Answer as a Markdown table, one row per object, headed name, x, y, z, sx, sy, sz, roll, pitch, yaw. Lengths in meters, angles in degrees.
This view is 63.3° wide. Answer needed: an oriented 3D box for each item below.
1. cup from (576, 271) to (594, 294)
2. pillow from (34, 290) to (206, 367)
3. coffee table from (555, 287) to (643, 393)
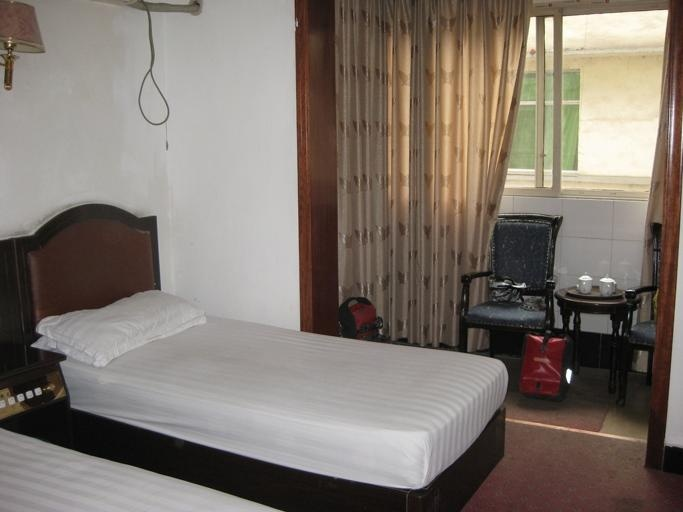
| name | x | y | z | sx | sy | sz | roll | pitch | yaw |
| --- | --- | --- | --- | --- | --- | --- | --- | --- | --- |
| cup | 2.149 | 0.252 | 4.891 | 0.126 | 0.177 | 0.169 | 0 | 0 | -21 |
| pillow | -1.430 | 0.461 | 3.810 | 0.448 | 0.188 | 0.714 | 15 | 18 | 28 |
| coffee table | 2.157 | 0.726 | 4.828 | 0.744 | 0.930 | 0.785 | 3 | 11 | 26 |
